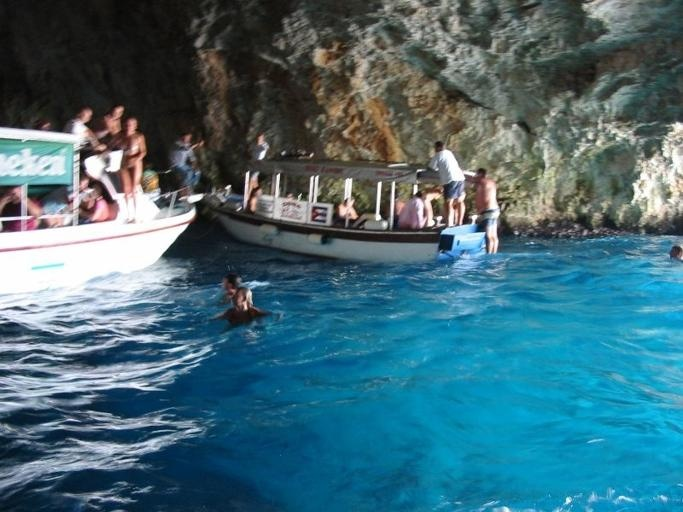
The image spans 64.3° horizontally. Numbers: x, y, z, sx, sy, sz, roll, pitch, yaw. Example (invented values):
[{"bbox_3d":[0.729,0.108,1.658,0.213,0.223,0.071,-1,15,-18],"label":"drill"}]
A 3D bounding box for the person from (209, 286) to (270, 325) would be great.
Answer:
[{"bbox_3d":[-1.606,0.814,8.905,0.785,0.635,0.469,-1,7,-10],"label":"person"}]
